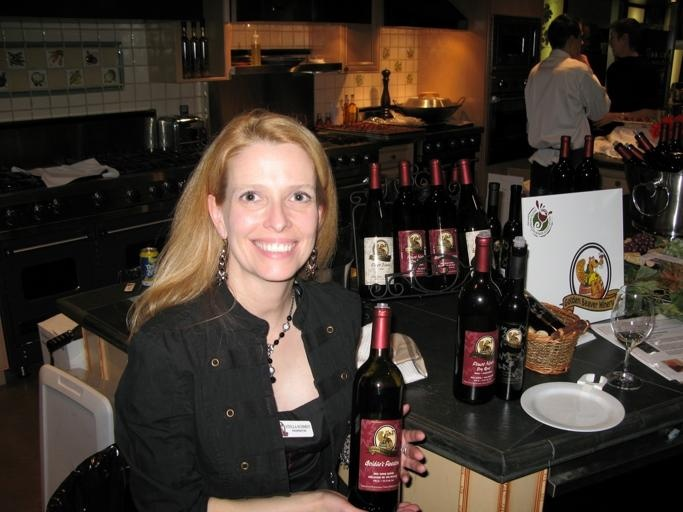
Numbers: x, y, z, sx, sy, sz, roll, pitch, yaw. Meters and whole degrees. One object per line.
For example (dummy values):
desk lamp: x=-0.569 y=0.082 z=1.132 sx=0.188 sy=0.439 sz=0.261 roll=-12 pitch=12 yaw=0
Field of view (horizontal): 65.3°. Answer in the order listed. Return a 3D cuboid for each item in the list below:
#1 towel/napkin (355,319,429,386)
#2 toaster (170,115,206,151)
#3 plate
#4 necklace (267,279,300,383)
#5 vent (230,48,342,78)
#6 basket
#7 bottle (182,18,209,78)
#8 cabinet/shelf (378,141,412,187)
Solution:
towel/napkin: x=0.147 y=0.278 z=1.501 sx=0.168 sy=0.064 sz=0.165 roll=-10 pitch=17 yaw=-33
toaster: x=-1.241 y=-0.985 z=4.254 sx=0.175 sy=0.287 sz=0.328 roll=13 pitch=24 yaw=30
plate: x=0.584 y=0.386 z=1.358 sx=0.246 sy=0.056 sz=0.172 roll=-5 pitch=11 yaw=-11
necklace: x=-0.150 y=0.191 z=1.419 sx=0.072 sy=0.230 sz=0.011 roll=15 pitch=-24 yaw=-26
vent: x=-0.464 y=-1.649 z=4.504 sx=1.109 sy=0.274 sz=0.287 roll=-13 pitch=16 yaw=-43
basket: x=0.612 y=0.235 z=1.528 sx=0.192 sy=0.119 sz=0.178 roll=-6 pitch=14 yaw=-20
bottle: x=-1.101 y=-1.541 z=3.988 sx=0.217 sy=0.398 sz=0.133 roll=-7 pitch=12 yaw=-21
cabinet/shelf: x=0.480 y=-0.777 z=4.772 sx=0.364 sy=0.267 sz=0.361 roll=0 pitch=34 yaw=7
